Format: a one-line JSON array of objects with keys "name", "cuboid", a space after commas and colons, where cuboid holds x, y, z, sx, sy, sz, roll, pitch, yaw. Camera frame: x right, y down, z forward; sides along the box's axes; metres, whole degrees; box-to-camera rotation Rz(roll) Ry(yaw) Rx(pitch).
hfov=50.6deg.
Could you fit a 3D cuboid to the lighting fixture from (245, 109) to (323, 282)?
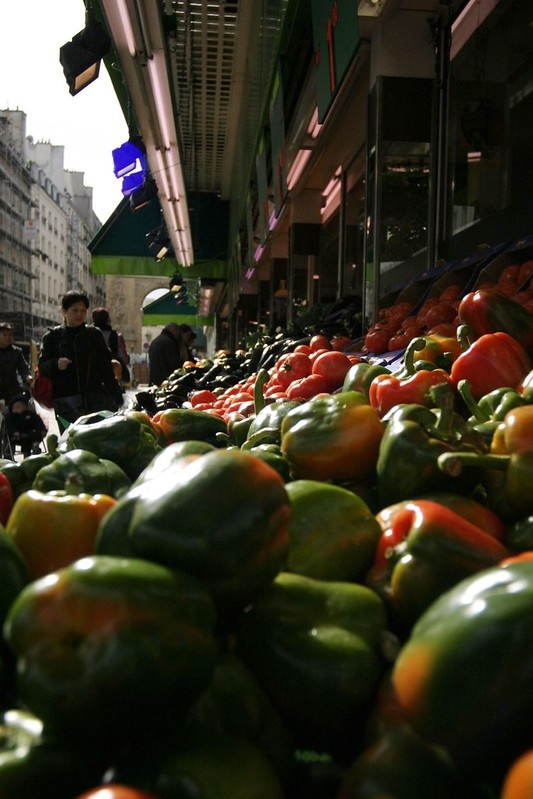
[{"name": "lighting fixture", "cuboid": [0.375, -3.213, 8.520, 0.152, 3.107, 0.438, 23, 6, 40]}]
